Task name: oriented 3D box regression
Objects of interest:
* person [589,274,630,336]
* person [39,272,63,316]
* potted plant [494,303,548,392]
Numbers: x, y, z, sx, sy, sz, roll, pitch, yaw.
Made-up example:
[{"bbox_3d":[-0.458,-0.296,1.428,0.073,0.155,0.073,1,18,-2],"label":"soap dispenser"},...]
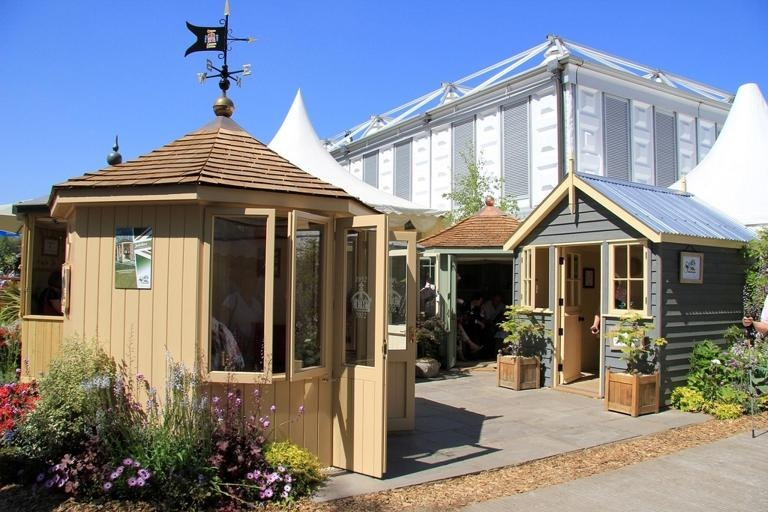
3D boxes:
[{"bbox_3d":[4.288,0.687,13.084,0.407,1.495,0.839,16,-20,15],"label":"person"},{"bbox_3d":[-6.062,0.682,12.195,0.382,0.687,1.029,-2,7,-27],"label":"person"},{"bbox_3d":[2.842,1.910,14.060,0.942,1.620,0.867,7,9,43],"label":"potted plant"}]
